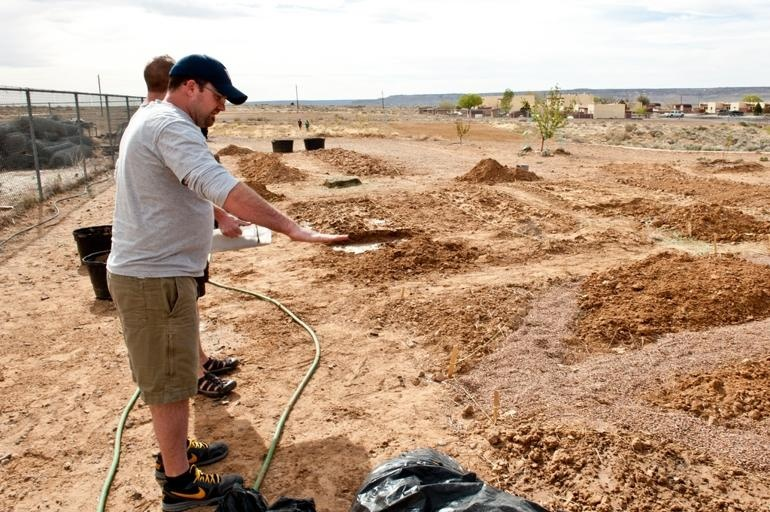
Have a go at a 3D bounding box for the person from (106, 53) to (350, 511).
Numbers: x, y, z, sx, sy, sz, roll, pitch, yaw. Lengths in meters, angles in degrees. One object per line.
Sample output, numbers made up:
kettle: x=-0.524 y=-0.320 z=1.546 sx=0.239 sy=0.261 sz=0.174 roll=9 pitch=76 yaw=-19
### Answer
person: x=-1.394 y=0.277 z=4.271 sx=1.176 sy=3.452 sz=1.255 roll=-8 pitch=18 yaw=-21

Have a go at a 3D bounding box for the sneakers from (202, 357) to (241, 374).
sneakers: x=-1.663 y=1.125 z=5.890 sx=0.391 sy=0.107 sz=0.120 roll=-4 pitch=21 yaw=-11

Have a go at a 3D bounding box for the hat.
hat: x=-1.282 y=-1.277 z=4.149 sx=0.496 sy=0.331 sz=0.244 roll=-4 pitch=15 yaw=-15

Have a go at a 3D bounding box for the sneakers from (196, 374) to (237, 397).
sneakers: x=-1.631 y=1.256 z=5.599 sx=0.476 sy=0.138 sz=0.199 roll=1 pitch=16 yaw=10

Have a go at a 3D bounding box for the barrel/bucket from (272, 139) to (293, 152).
barrel/bucket: x=-3.975 y=-4.287 z=22.391 sx=0.842 sy=0.318 sz=0.731 roll=-3 pitch=12 yaw=-7
